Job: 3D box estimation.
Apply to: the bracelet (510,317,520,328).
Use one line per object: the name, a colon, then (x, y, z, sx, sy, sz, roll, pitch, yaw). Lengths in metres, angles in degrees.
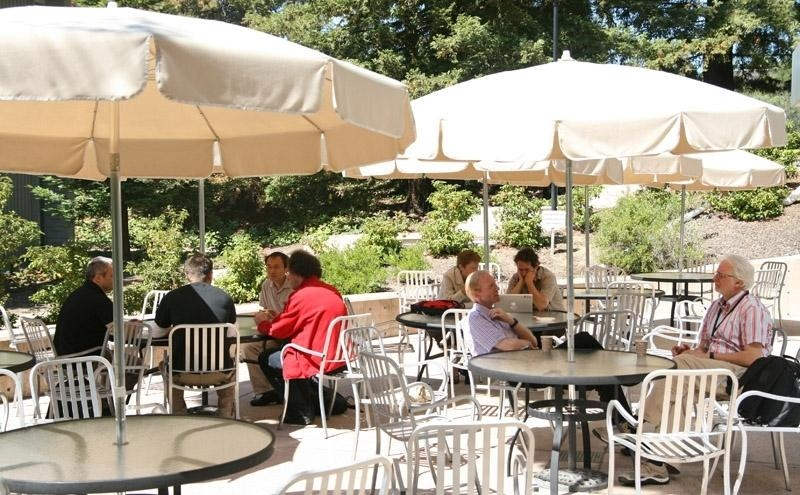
bracelet: (1.270, 0.804, 10.627, 0.085, 0.116, 0.057, -7, -24, -2)

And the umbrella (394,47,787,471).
umbrella: (2.034, -0.011, 11.371, 4.042, 3.653, 4.137, -2, 1, 1)

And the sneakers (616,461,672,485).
sneakers: (2.459, 2.295, 9.833, 0.577, 0.256, 0.222, 1, -17, 1)

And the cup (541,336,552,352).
cup: (1.534, 1.003, 10.034, 0.133, 0.144, 0.138, -1, 3, 0)

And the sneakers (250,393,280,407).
sneakers: (-1.691, 1.908, 12.129, 0.424, 0.189, 0.148, 4, -5, -6)

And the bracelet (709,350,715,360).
bracelet: (3.201, 1.094, 9.858, 0.062, 0.065, 0.015, -6, -8, 21)

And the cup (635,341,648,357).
cup: (2.451, 1.022, 9.752, 0.138, 0.154, 0.142, -1, -2, 0)
